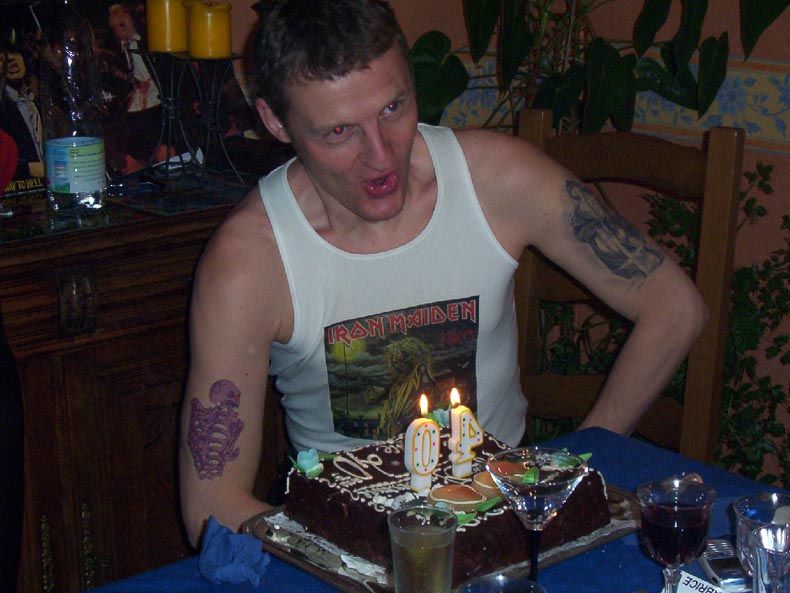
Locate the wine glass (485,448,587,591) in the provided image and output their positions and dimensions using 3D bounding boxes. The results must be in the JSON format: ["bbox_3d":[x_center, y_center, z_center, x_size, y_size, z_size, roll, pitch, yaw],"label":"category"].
[{"bbox_3d":[0.217,0.349,1.180,0.178,0.233,0.196,1,10,11],"label":"wine glass"}]

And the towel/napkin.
[{"bbox_3d":[-0.287,0.440,1.171,0.141,0.057,0.099,8,28,19],"label":"towel/napkin"}]
